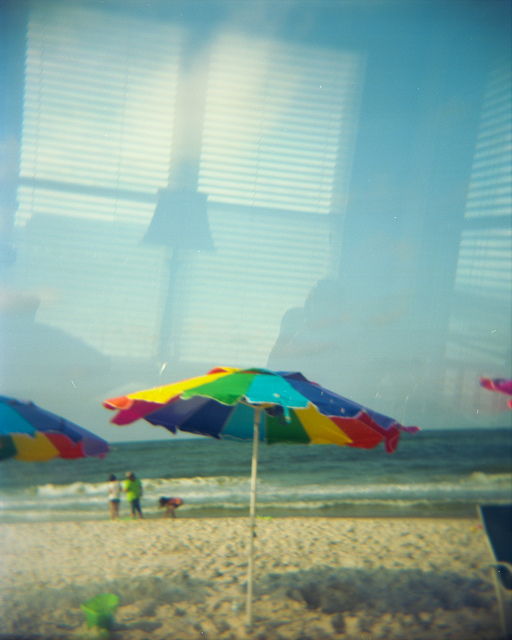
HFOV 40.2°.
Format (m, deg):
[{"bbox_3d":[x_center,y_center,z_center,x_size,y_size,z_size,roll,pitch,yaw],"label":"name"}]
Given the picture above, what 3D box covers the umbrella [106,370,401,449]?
[{"bbox_3d":[-0.001,0.498,3.740,1.380,0.443,0.819,6,0,22],"label":"umbrella"}]
